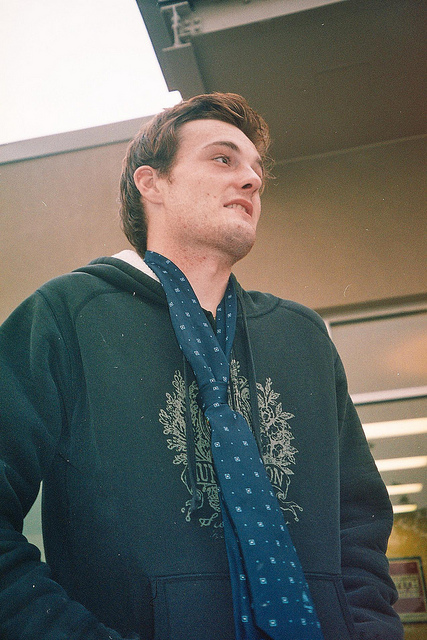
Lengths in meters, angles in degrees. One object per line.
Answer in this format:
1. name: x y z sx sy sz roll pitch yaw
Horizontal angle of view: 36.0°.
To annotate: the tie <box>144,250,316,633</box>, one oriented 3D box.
1. tie: 0.040 0.169 1.292 0.180 0.814 0.041 7 -47 -18
